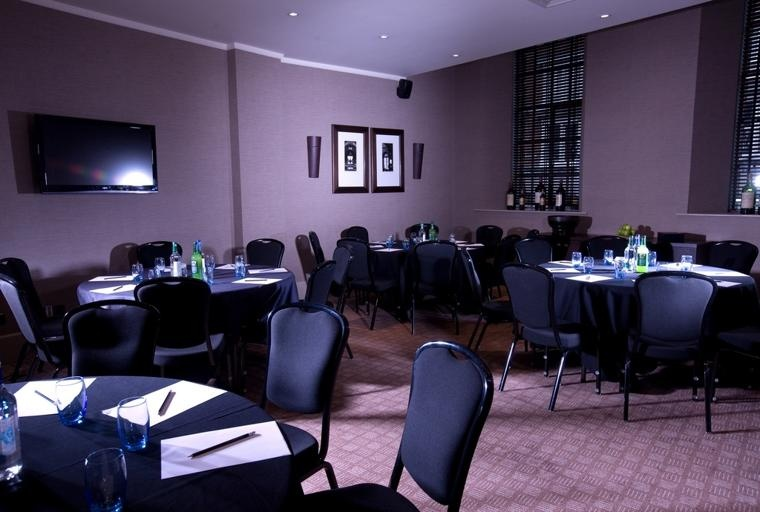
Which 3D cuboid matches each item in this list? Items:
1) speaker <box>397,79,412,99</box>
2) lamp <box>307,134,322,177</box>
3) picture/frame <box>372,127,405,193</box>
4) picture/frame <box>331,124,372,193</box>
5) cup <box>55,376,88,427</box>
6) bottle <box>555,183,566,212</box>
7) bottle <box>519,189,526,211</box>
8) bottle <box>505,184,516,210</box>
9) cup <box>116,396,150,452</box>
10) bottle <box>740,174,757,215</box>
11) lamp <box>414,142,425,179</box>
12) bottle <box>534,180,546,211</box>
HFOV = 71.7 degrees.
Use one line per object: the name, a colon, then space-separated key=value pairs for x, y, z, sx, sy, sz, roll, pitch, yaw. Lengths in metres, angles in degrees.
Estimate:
speaker: x=0.388 y=-2.756 z=8.698 sx=0.281 sy=0.405 sz=0.220 roll=1 pitch=24 yaw=-7
lamp: x=-0.954 y=-1.452 z=7.834 sx=0.096 sy=0.606 sz=0.282 roll=6 pitch=12 yaw=43
picture/frame: x=0.121 y=-1.567 z=8.724 sx=0.121 sy=1.036 sz=0.689 roll=6 pitch=11 yaw=41
picture/frame: x=-0.466 y=-1.508 z=8.264 sx=0.735 sy=1.030 sz=0.081 roll=-10 pitch=12 yaw=-43
cup: x=-1.627 y=0.770 z=2.802 sx=0.132 sy=0.234 sz=0.151 roll=0 pitch=9 yaw=17
bottle: x=2.896 y=-0.938 z=8.443 sx=0.161 sy=0.420 sz=0.336 roll=1 pitch=9 yaw=18
bottle: x=2.425 y=-0.958 z=8.977 sx=0.119 sy=0.324 sz=0.134 roll=-2 pitch=9 yaw=-2
bottle: x=2.247 y=-1.010 z=9.031 sx=0.162 sy=0.436 sz=0.303 roll=0 pitch=9 yaw=15
cup: x=-1.236 y=0.842 z=2.651 sx=0.151 sy=0.246 sz=0.158 roll=-2 pitch=8 yaw=0
bottle: x=4.602 y=-0.745 z=6.560 sx=0.151 sy=0.437 sz=0.274 roll=4 pitch=11 yaw=36
lamp: x=0.678 y=-1.628 z=9.164 sx=0.102 sy=0.624 sz=0.242 roll=5 pitch=11 yaw=38
bottle: x=2.653 y=-0.991 z=8.694 sx=0.168 sy=0.479 sz=0.284 roll=1 pitch=9 yaw=21
